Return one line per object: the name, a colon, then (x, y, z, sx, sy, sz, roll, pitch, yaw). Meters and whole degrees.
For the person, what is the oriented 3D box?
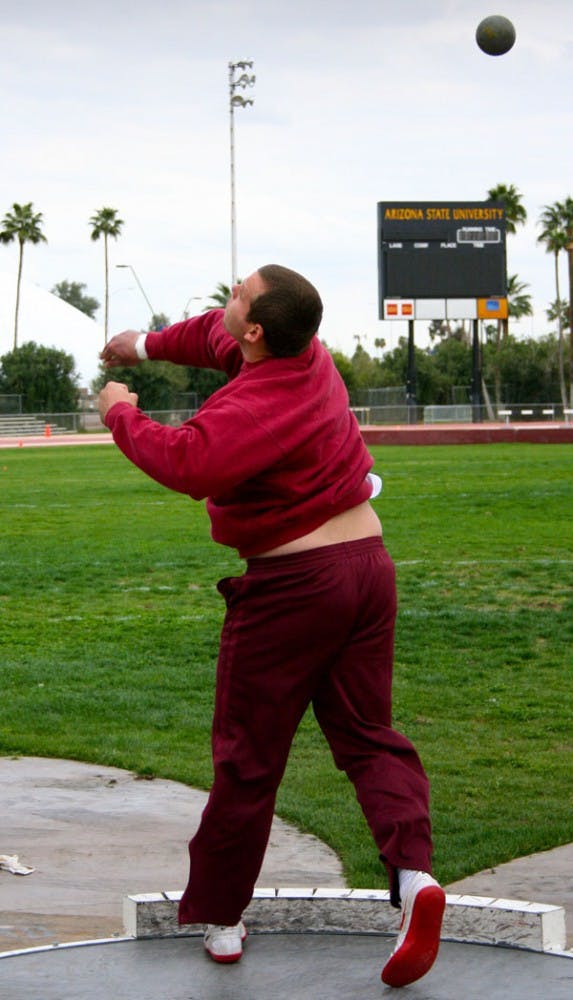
person: (-0.017, 0.267, 3.178, 0.984, 1.657, 0.661, 3, 7, 32)

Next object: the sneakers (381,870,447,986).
sneakers: (0.287, 0.972, 2.965, 0.138, 0.245, 0.190, 0, 6, 5)
